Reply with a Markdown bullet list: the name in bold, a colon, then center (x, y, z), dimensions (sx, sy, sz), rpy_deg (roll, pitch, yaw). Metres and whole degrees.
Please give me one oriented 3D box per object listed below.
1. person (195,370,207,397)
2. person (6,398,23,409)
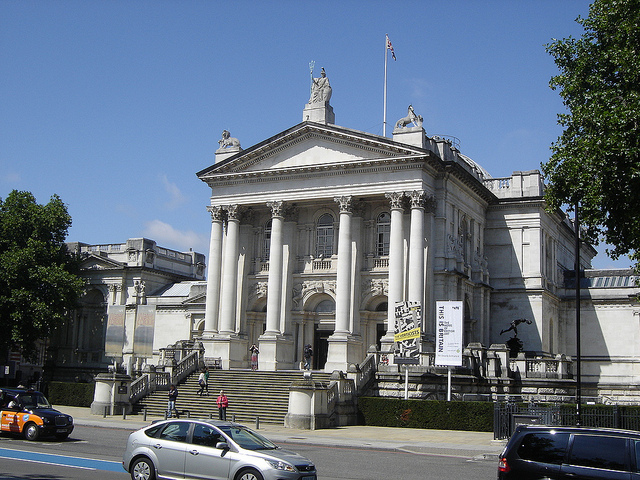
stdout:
- **person**: center (-7.289, 8.831, 53.088), dimensions (0.658, 1.550, 2.605), rpy_deg (3, -15, -7)
- **person**: center (-13.143, 6.991, 36.843), dimensions (0.592, 0.464, 0.848), rpy_deg (2, 5, -4)
